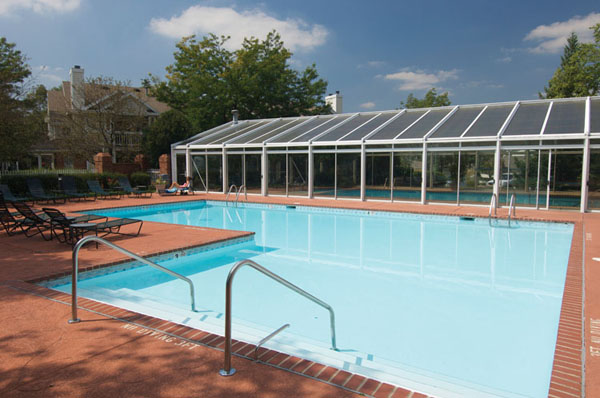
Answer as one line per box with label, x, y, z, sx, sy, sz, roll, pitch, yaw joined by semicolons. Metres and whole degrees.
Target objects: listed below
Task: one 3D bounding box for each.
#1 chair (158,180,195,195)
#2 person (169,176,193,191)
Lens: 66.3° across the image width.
chair;-6.906;-0.606;26.179;1.360;0.725;0.955;1;-1;-36
person;-6.828;-0.857;26.234;1.510;0.862;0.722;0;3;6
